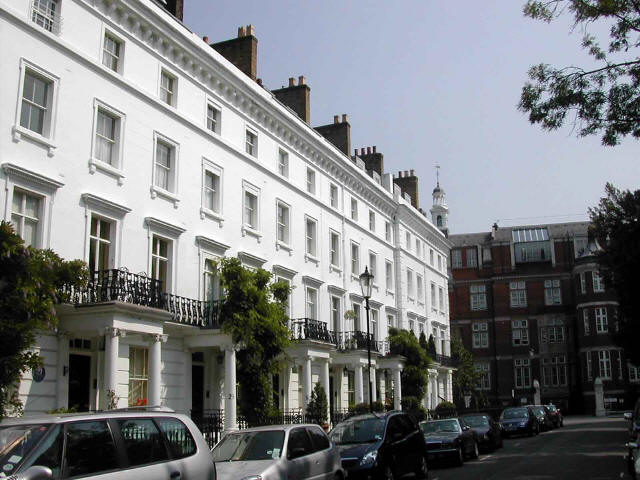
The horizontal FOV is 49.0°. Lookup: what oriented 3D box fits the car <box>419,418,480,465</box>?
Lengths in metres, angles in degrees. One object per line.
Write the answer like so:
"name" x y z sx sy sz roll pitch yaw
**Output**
"car" 4.760 7.314 25.524 1.297 1.182 3.456 -6 -22 16
